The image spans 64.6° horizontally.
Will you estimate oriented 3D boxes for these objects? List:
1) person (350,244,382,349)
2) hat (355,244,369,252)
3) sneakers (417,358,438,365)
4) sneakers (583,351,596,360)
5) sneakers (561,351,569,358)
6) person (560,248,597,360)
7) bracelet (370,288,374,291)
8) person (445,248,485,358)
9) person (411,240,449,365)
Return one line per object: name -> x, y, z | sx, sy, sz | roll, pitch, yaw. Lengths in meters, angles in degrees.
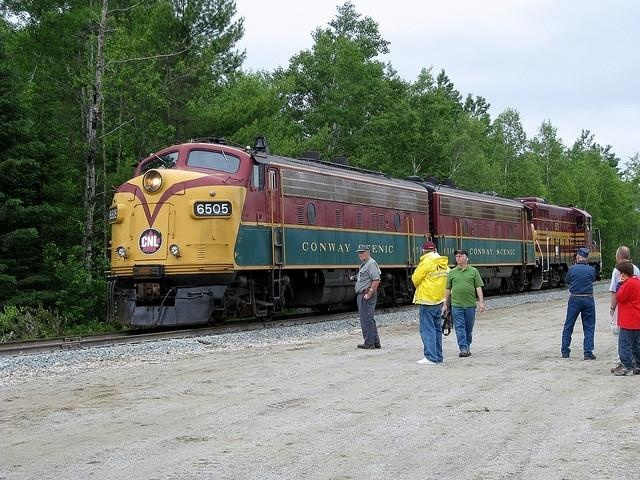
person -> 1.150, 1.374, 11.978 | 0.553, 2.447, 0.926 | -1, -3, 6
hat -> 1.036, 0.143, 11.887 | 0.259, 0.158, 0.386 | -2, -6, 19
sneakers -> 2.147, 2.404, 10.154 | 0.354, 0.160, 0.147 | 2, -3, 20
sneakers -> 5.580, 2.383, 10.454 | 0.312, 0.154, 0.141 | 1, -3, -24
sneakers -> 5.199, 2.428, 10.726 | 0.116, 0.115, 0.151 | -1, -10, 10
person -> 5.544, 1.336, 10.892 | 0.665, 2.323, 1.498 | -2, -3, 28
bracelet -> 1.189, 1.151, 11.588 | 0.100, 0.100, 0.086 | -1, -3, 4
person -> 3.107, 1.378, 10.885 | 0.725, 2.273, 0.761 | -1, -3, 17
person -> 2.311, 1.271, 10.481 | 0.740, 2.469, 0.872 | -1, -3, 13
